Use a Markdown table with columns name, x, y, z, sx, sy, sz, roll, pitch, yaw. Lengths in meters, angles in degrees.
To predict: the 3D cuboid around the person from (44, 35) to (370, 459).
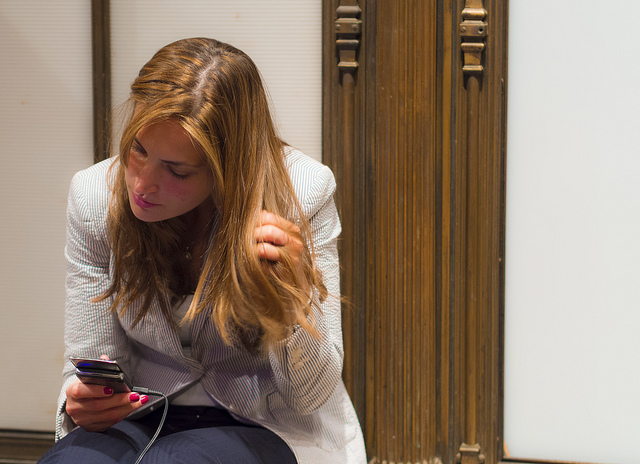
| name | x | y | z | sx | sy | sz | roll | pitch | yaw |
| --- | --- | --- | --- | --- | --- | --- | --- | --- | --- |
| person | -0.311 | 0.055 | 2.745 | 0.862 | 0.936 | 0.339 | -1 | 0 | 3 |

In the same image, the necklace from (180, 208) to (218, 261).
| name | x | y | z | sx | sy | sz | roll | pitch | yaw |
| --- | --- | --- | --- | --- | --- | --- | --- | --- | --- |
| necklace | -0.351 | 0.005 | 2.808 | 0.026 | 0.160 | 0.021 | 29 | -8 | 24 |
